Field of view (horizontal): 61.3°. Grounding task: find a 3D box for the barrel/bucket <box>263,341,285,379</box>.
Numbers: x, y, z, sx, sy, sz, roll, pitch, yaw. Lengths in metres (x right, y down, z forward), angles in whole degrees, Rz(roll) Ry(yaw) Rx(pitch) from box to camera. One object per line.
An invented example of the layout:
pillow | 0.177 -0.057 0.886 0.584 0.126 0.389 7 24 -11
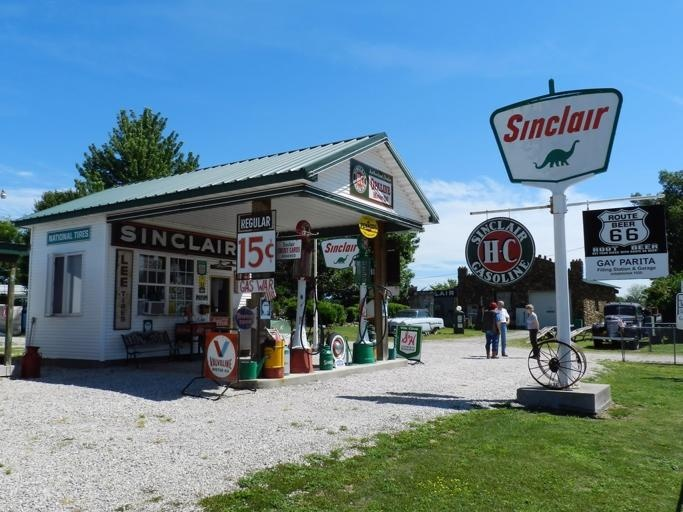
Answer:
barrel/bucket | -1.512 2.291 12.634 0.572 0.819 0.524 -2 -6 0

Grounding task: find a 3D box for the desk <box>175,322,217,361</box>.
desk | -4.026 2.321 15.630 0.873 1.248 1.279 -3 -4 32

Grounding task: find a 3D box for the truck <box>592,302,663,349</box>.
truck | 12.050 2.620 24.573 2.226 2.128 4.359 -8 -17 33

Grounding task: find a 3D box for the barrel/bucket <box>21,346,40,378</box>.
barrel/bucket | -7.188 2.456 13.337 0.387 0.691 0.704 0 0 -29

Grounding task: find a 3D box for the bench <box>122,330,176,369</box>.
bench | -5.302 2.468 15.942 1.372 0.607 0.429 1 -25 -42

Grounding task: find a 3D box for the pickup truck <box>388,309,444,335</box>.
pickup truck | 3.798 3.615 32.342 2.115 1.324 3.526 -6 -10 34
